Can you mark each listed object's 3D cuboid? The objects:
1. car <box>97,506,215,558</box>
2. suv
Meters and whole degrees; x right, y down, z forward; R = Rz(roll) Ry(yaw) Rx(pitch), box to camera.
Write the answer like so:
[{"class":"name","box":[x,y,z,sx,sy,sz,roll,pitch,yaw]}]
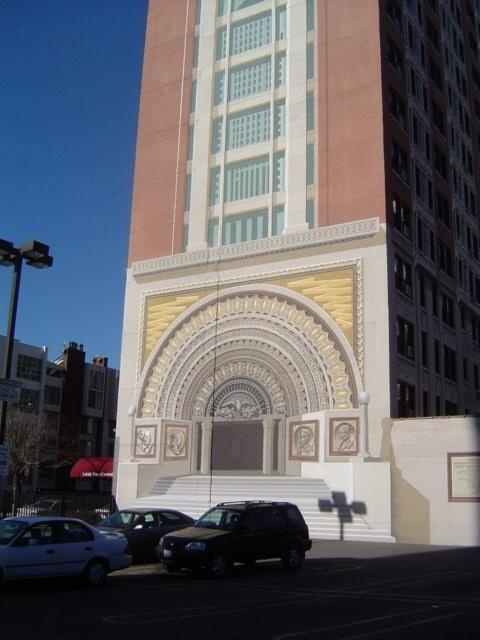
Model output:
[{"class":"car","box":[-2.252,5.578,15.654,2.421,1.063,1.281,17,-24,-40]},{"class":"suv","box":[-0.092,5.028,13.556,3.254,1.441,1.582,15,-24,-37]}]
